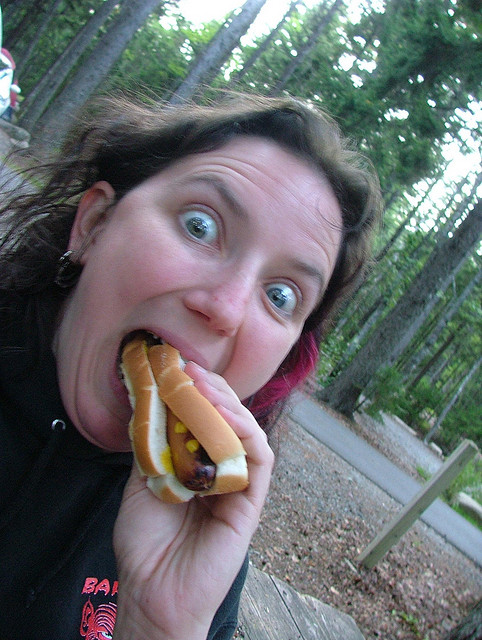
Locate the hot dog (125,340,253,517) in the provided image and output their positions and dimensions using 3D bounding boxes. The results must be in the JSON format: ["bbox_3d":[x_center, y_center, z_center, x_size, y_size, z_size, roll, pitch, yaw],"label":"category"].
[{"bbox_3d":[-0.211,0.343,1.835,0.209,0.364,0.639,109,-36,-58],"label":"hot dog"}]

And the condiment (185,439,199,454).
[{"bbox_3d":[-0.152,0.401,1.753,0.022,0.041,0.037,56,14,-65],"label":"condiment"}]

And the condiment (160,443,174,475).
[{"bbox_3d":[-0.238,0.458,1.793,0.057,0.021,0.070,28,56,-76],"label":"condiment"}]

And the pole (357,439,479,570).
[{"bbox_3d":[1.650,1.787,5.256,0.176,1.658,0.701,41,4,23],"label":"pole"}]

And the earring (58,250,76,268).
[{"bbox_3d":[-0.675,-0.242,2.140,0.025,0.084,0.091,37,3,-23],"label":"earring"}]
